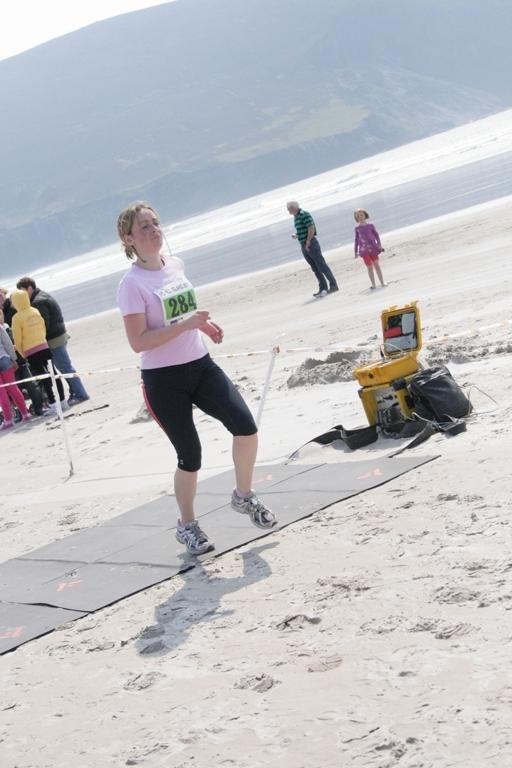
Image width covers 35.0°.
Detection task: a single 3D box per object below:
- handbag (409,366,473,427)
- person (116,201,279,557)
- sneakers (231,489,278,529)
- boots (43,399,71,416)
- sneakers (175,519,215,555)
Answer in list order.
[{"bbox_3d":[1.227,0.080,5.489,0.374,0.394,0.252,-21,-2,-34],"label":"handbag"},{"bbox_3d":[-0.374,-0.009,3.951,0.571,1.397,0.585,-17,8,-1],"label":"person"},{"bbox_3d":[-0.036,0.630,4.103,0.323,0.125,0.115,24,41,29],"label":"sneakers"},{"bbox_3d":[-2.532,0.300,10.419,0.329,0.128,0.109,-31,-3,28],"label":"boots"},{"bbox_3d":[-0.340,0.767,4.117,0.109,0.107,0.263,-13,21,-36],"label":"sneakers"}]
